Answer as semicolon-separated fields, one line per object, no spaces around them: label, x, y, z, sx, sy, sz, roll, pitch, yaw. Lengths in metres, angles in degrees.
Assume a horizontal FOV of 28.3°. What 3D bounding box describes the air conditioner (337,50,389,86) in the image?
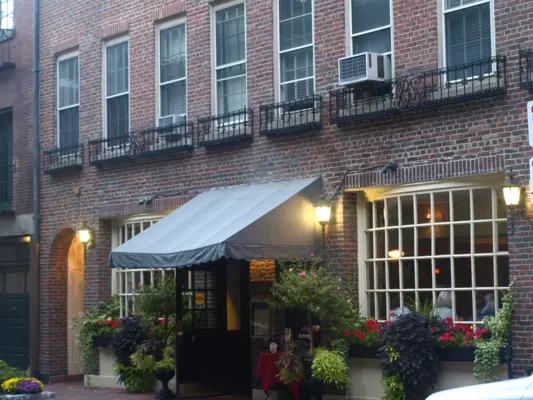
air conditioner;1.938;-2.506;20.544;0.706;0.676;0.842;0;-4;-40

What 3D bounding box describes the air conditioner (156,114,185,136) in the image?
air conditioner;-2.105;-1.646;23.313;0.793;0.548;0.302;-6;-10;25

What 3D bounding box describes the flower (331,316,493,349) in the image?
flower;2.856;2.522;19.941;2.069;0.461;1.378;1;-5;18
